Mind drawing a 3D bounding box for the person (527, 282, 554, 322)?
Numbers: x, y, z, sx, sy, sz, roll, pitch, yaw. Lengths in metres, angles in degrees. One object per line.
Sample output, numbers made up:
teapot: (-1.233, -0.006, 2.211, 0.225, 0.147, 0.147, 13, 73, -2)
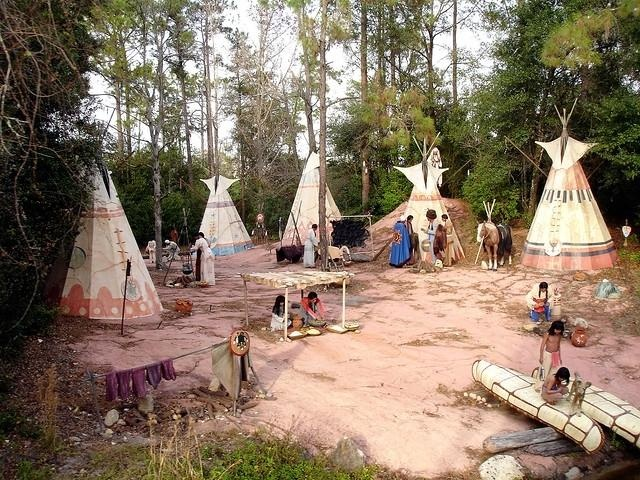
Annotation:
person: (5.535, 1.498, 12.094, 0.636, 1.042, 0.487, -3, 7, -16)

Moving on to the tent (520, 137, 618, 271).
tent: (8.531, -1.247, 16.736, 2.846, 4.725, 3.046, 6, -7, -40)

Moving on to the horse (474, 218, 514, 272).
horse: (6.179, 0.150, 17.325, 1.249, 1.624, 1.908, 1, 7, 21)

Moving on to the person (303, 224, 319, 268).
person: (-0.367, 0.216, 19.061, 0.569, 1.720, 0.813, -2, 7, -2)

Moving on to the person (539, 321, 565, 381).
person: (4.024, 2.014, 8.442, 0.353, 1.277, 0.328, 6, 10, 18)

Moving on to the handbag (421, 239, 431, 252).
handbag: (3.871, 0.197, 17.771, 0.335, 0.396, 0.177, 0, 7, 12)

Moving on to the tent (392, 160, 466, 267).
tent: (4.199, -1.785, 19.974, 2.232, 2.716, 1.871, 8, -27, 9)

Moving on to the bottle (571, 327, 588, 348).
bottle: (5.804, 2.159, 10.930, 0.396, 0.438, 0.417, 3, -4, -6)

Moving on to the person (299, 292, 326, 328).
person: (-0.168, 1.698, 12.195, 0.599, 0.884, 0.675, 2, -1, -43)

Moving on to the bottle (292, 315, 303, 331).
bottle: (-0.552, 2.034, 12.005, 0.250, 0.267, 0.264, -1, 1, -5)

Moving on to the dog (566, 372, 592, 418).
dog: (4.173, 2.462, 7.847, 0.270, 0.645, 0.672, 2, 8, 28)

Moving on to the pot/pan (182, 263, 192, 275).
pot/pan: (-4.958, 1.075, 18.002, 0.359, 0.496, 0.382, -2, -5, 38)

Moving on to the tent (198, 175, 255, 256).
tent: (-5.248, -1.332, 26.953, 2.627, 4.263, 3.710, -7, 6, -26)

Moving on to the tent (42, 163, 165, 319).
tent: (-5.571, 0.108, 12.898, 2.187, 3.983, 2.232, -1, -3, -31)
